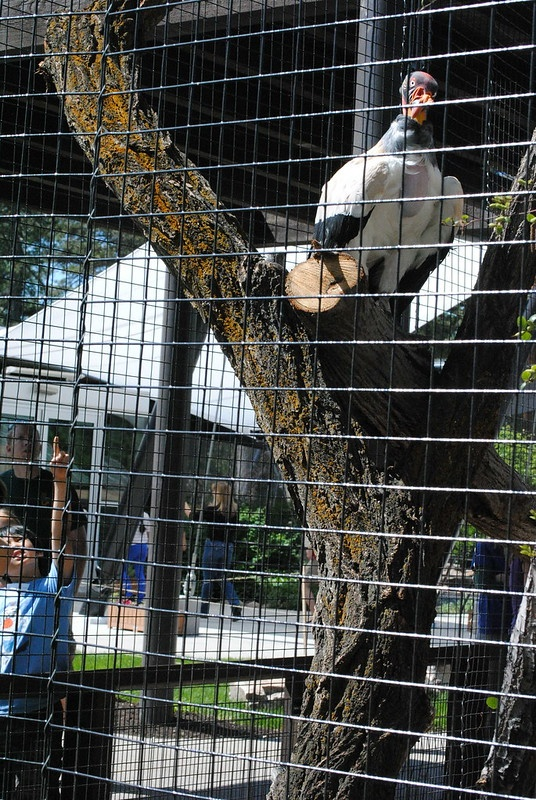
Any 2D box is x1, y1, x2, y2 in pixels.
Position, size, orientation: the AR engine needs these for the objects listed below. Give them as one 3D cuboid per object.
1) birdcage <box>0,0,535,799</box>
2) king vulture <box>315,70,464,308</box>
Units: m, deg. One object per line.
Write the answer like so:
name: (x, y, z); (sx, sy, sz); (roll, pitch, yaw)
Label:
birdcage: (-0.163, -0.119, 4.832); (1.512, 2.474, 1.054); (4, -14, 8)
king vulture: (0.453, -0.784, 5.921); (0.520, 0.917, 0.484); (16, 9, 33)
